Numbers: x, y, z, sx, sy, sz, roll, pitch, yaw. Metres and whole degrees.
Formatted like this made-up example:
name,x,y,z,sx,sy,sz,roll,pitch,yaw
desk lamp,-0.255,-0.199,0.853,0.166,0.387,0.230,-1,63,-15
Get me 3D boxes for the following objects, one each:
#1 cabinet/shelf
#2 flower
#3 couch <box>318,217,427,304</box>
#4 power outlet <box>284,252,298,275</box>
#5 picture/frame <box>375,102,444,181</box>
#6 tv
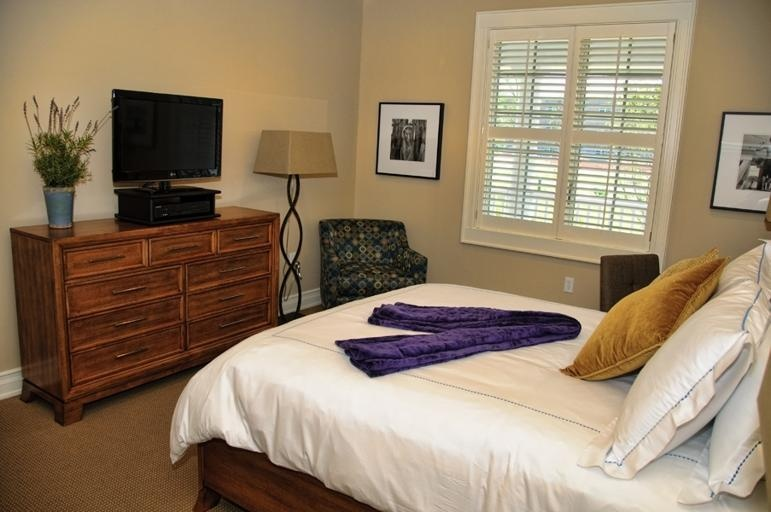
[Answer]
name,x,y,z,sx,sy,sz,roll,pitch,yaw
cabinet/shelf,-1.783,0.339,4.193,0.654,1.282,1.861,10,14,33
flower,-2.214,-0.728,3.592,0.475,0.474,0.421,2,-7,18
couch,-0.212,0.009,5.534,1.043,1.144,0.945,-1,3,-19
power outlet,-0.918,0.077,5.178,0.161,0.254,0.065,-1,9,-2
picture/frame,0.293,-1.274,5.636,0.826,0.844,0.059,6,6,26
tv,-1.701,-0.902,3.994,0.089,0.673,0.887,11,13,39
